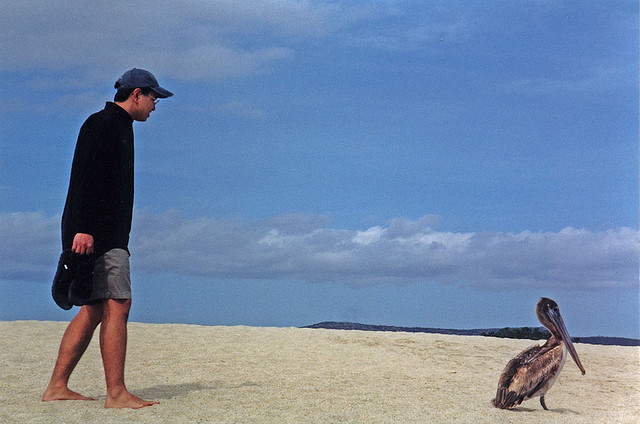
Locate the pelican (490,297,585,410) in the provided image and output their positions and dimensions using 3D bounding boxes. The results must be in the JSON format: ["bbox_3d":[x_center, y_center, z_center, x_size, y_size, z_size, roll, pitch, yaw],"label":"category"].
[{"bbox_3d":[2.855,1.877,13.921,1.362,1.441,0.540,-4,2,-7],"label":"pelican"}]
